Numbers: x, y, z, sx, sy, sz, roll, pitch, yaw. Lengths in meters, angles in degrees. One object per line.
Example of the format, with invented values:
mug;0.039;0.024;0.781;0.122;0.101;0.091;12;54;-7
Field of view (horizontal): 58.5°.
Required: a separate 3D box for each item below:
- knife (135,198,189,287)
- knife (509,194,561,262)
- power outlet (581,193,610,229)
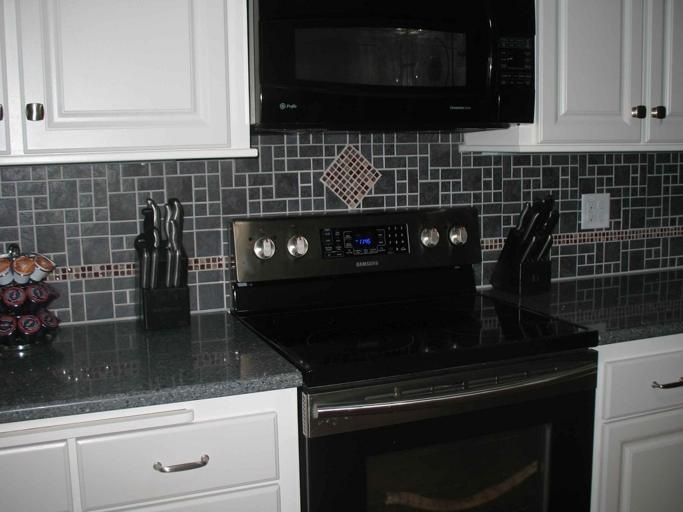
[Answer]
knife;-0.573;-0.042;1.918;0.154;0.279;0.141;-9;11;-20
knife;0.706;-0.103;2.257;0.175;0.234;0.115;-2;10;16
power outlet;1.053;-0.192;2.538;0.136;0.162;0.017;-3;6;-24
